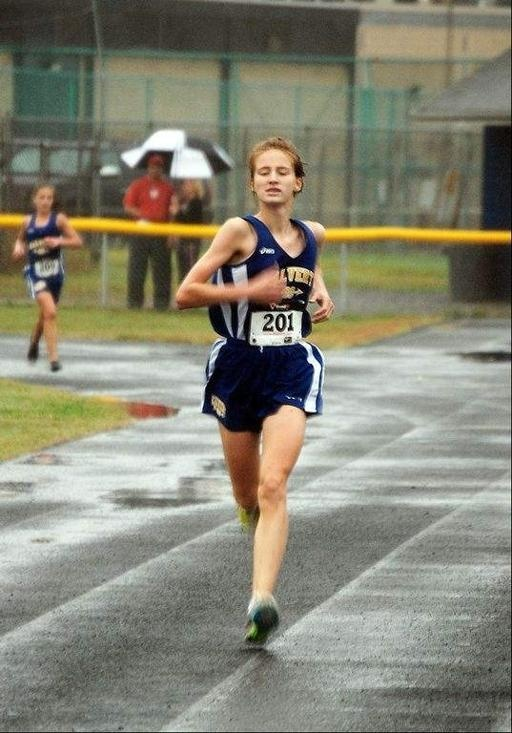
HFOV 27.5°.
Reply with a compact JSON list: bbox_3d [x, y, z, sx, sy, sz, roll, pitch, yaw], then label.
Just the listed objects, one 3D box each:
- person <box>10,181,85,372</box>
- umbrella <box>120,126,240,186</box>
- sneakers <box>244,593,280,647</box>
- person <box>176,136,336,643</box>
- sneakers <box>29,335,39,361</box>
[{"bbox_3d":[-0.942,-0.376,4.658,0.279,0.854,0.332,0,8,-14],"label":"person"},{"bbox_3d":[-0.753,-1.828,9.077,1.019,0.332,0.995,2,8,38],"label":"umbrella"},{"bbox_3d":[0.022,0.701,2.920,0.102,0.172,0.069,6,49,-12],"label":"sneakers"},{"bbox_3d":[-0.009,0.050,3.219,0.457,1.505,0.951,2,8,4],"label":"person"},{"bbox_3d":[-1.006,-0.075,4.722,0.040,0.086,0.120,6,13,-7],"label":"sneakers"}]
